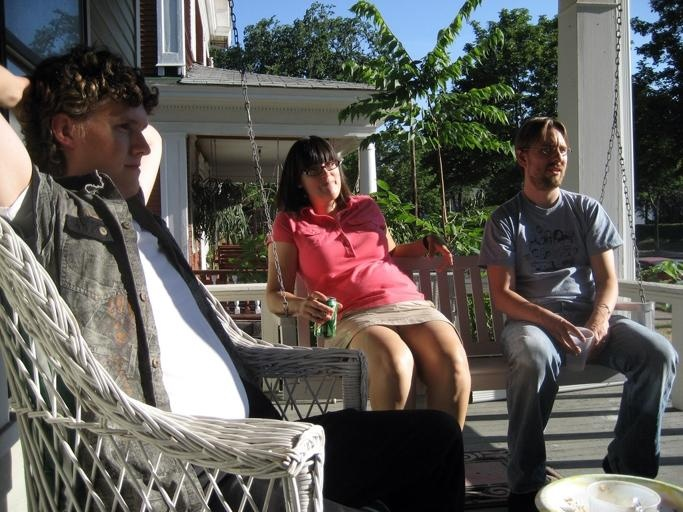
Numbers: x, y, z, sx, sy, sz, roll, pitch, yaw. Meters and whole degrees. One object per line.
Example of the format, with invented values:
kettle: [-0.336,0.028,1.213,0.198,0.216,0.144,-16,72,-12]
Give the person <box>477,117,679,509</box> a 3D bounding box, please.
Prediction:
person: [1.182,0.195,3.921,0.930,1.796,0.775,0,2,-5]

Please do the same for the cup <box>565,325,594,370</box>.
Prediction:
cup: [1.144,0.435,3.830,0.115,0.212,0.218,2,3,38]

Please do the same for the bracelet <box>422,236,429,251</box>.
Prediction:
bracelet: [0.444,-0.072,4.300,0.013,0.061,0.057,-2,1,-16]
